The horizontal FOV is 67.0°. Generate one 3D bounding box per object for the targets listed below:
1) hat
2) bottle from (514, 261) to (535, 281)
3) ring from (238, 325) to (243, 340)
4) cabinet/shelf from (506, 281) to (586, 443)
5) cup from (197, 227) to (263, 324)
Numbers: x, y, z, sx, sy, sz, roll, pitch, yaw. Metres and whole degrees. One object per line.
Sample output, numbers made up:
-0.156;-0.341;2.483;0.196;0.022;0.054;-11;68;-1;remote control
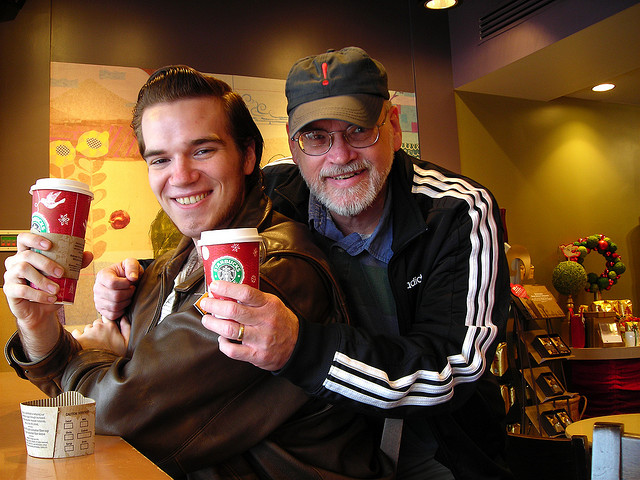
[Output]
0.060;-0.592;1.903;0.421;0.321;0.587;-3;16;20;hat
1.764;0.267;4.183;0.258;0.210;0.061;0;2;-43;bottle
-0.191;0.226;1.182;0.015;0.040;0.017;1;2;-8;ring
1.803;0.946;3.885;0.532;1.123;0.691;3;2;35;cabinet/shelf
-0.199;0.078;1.133;0.178;0.196;0.179;-1;-9;0;cup
